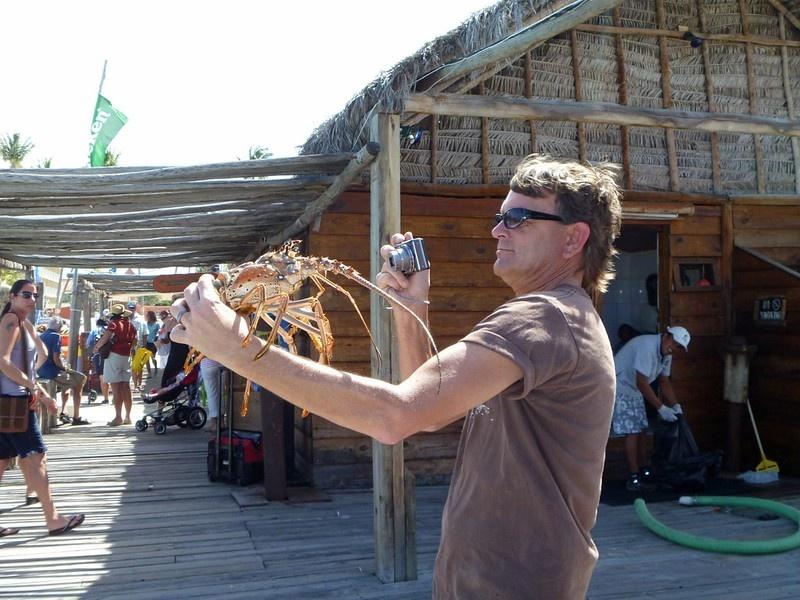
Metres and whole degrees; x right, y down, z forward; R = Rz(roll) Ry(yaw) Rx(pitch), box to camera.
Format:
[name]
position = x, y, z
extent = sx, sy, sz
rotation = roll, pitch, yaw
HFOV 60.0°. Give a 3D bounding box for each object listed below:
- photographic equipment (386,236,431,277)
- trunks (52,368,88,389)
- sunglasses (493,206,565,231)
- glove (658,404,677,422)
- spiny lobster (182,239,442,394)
[photographic equipment]
position = 0.033, -0.192, 3.348
extent = 0.196, 0.146, 0.238
rotation = -11, -5, -11
[trunks]
position = -4.985, 1.204, 10.504
extent = 0.396, 0.170, 0.454
rotation = 0, -2, -12
[sunglasses]
position = 0.569, -0.363, 3.097
extent = 0.162, 0.035, 0.139
rotation = 9, -5, -15
[glove]
position = 2.966, 1.246, 7.657
extent = 0.179, 0.067, 0.210
rotation = 16, 15, -17
[spiny lobster]
position = -0.479, 0.088, 3.193
extent = 1.323, 0.368, 0.753
rotation = -4, 12, -12
